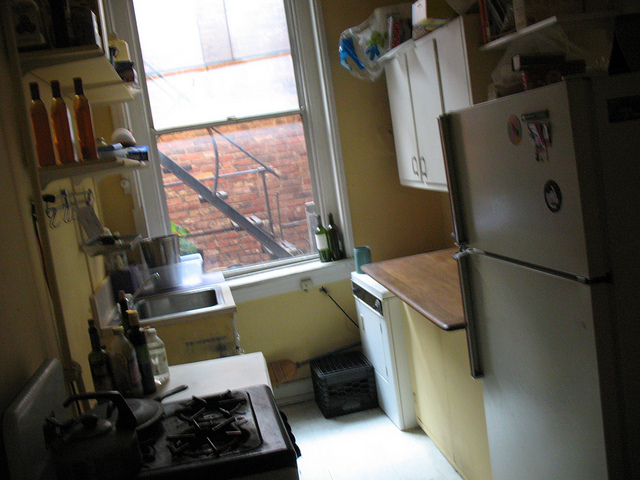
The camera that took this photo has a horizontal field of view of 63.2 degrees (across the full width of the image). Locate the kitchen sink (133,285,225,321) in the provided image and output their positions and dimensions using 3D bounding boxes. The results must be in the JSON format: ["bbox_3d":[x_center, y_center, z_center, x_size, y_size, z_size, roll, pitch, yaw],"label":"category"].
[{"bbox_3d":[-0.832,0.324,3.182,0.449,0.194,0.501,-11,7,-11],"label":"kitchen sink"}]

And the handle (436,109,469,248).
[{"bbox_3d":[0.543,-0.242,2.120,0.113,0.545,0.118,-9,-1,-23],"label":"handle"}]

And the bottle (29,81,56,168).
[{"bbox_3d":[-0.986,-0.401,1.839,0.061,0.230,0.152,-14,10,-26],"label":"bottle"}]

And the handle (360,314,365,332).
[{"bbox_3d":[0.296,0.566,3.602,0.002,0.120,0.073,-11,9,-12],"label":"handle"}]

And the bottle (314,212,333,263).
[{"bbox_3d":[0.027,-0.012,3.800,0.097,0.352,0.058,-9,9,1],"label":"bottle"}]

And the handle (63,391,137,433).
[{"bbox_3d":[-0.645,0.493,1.584,0.190,0.212,0.117,-1,-5,-9],"label":"handle"}]

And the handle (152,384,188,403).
[{"bbox_3d":[-0.580,0.585,2.015,0.062,0.031,0.162,-4,12,38],"label":"handle"}]

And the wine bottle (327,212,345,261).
[{"bbox_3d":[0.110,-0.031,3.804,0.099,0.353,0.063,-10,9,-2],"label":"wine bottle"}]

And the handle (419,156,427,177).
[{"bbox_3d":[0.646,-0.458,3.254,0.061,0.092,0.023,-2,1,39],"label":"handle"}]

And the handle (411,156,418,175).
[{"bbox_3d":[0.614,-0.492,3.391,0.008,0.114,0.096,-10,9,-5],"label":"handle"}]
